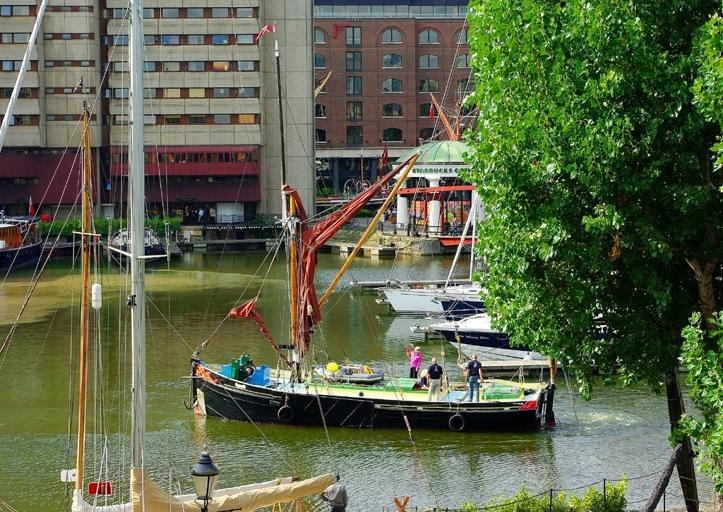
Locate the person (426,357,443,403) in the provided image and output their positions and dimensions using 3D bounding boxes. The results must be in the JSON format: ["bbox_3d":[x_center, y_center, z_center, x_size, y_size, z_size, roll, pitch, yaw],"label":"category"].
[{"bbox_3d":[2.820,4.816,46.139,0.563,1.879,0.492,-3,10,-21],"label":"person"}]
